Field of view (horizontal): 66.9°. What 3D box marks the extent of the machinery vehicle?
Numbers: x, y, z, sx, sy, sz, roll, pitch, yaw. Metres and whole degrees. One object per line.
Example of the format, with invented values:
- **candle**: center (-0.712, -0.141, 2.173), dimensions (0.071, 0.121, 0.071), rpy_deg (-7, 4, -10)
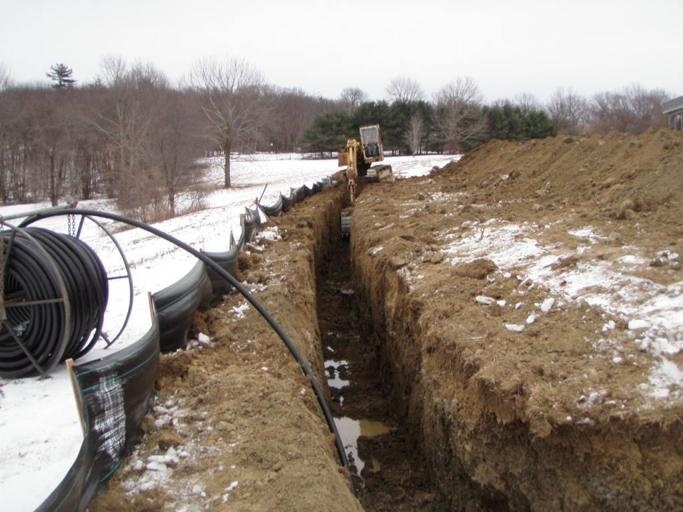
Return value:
- **machinery vehicle**: center (0.693, -3.661, 22.873), dimensions (1.741, 2.951, 6.848), rpy_deg (-1, 32, 12)
